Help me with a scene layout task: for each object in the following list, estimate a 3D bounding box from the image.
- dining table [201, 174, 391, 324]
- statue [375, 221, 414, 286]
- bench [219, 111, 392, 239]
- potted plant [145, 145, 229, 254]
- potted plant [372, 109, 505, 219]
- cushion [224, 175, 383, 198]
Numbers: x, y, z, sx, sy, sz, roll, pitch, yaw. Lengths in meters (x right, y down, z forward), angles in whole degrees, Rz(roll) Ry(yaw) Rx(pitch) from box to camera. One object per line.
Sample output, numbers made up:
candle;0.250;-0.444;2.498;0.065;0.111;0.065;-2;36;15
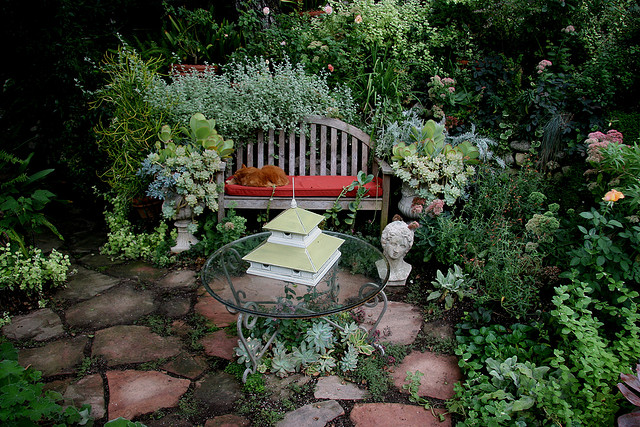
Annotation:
dining table;-0.168;0.484;4.545;2.081;1.344;1.257;1;17;-3
statue;0.735;0.386;4.418;0.361;0.637;0.304;3;7;2
bench;-0.324;-0.597;5.979;2.442;1.377;1.362;-3;15;-10
potted plant;-1.421;-0.288;5.479;1.256;1.560;1.081;2;12;-6
potted plant;1.274;-0.670;5.347;1.310;1.305;1.252;18;29;29
cushion;-0.184;-0.337;5.150;1.782;0.168;0.465;-2;36;-2
